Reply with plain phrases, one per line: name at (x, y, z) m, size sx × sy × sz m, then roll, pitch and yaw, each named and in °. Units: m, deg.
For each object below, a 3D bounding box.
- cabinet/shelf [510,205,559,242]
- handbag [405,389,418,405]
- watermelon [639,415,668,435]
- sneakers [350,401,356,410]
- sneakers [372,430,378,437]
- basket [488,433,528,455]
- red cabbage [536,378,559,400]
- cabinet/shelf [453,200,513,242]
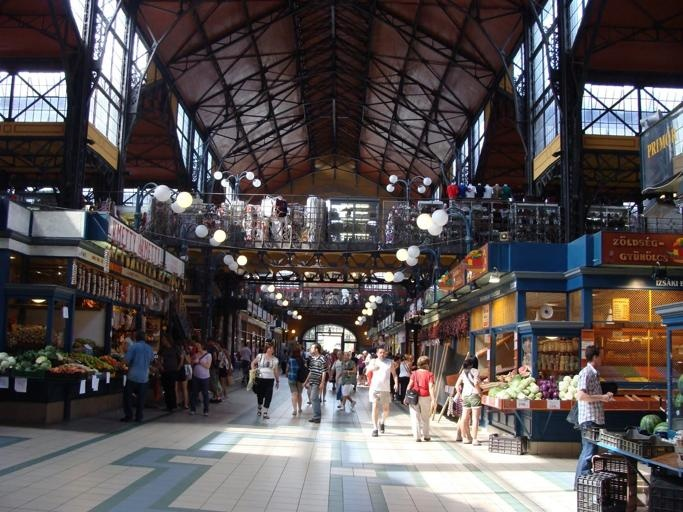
cabinet/shelf at (6.025, -1.063, 19.187) m, size 1.390 × 1.514 × 1.105 m, roll 0°, pitch -12°, yaw 4°
handbag at (1.400, 2.887, 12.215) m, size 0.240 × 0.310 × 0.143 m, roll -3°, pitch -10°, yaw 14°
watermelon at (4.262, 2.342, 8.293) m, size 0.294 × 0.377 × 0.313 m, roll 0°, pitch -6°, yaw 17°
sneakers at (0.314, 4.395, 17.423) m, size 0.112 × 0.377 × 0.153 m, roll -1°, pitch 18°, yaw -1°
sneakers at (0.668, 3.649, 12.387) m, size 0.117 × 0.106 × 0.297 m, roll 0°, pitch -10°, yaw 0°
basket at (2.936, 3.404, 10.822) m, size 0.427 × 0.234 × 0.349 m, roll -2°, pitch -13°, yaw 26°
red cabbage at (3.774, 2.457, 11.093) m, size 0.370 × 0.363 × 0.346 m, roll -4°, pitch -10°, yaw 19°
cabinet/shelf at (4.632, -1.250, 19.572) m, size 2.224 × 1.774 × 1.468 m, roll 1°, pitch -1°, yaw 7°
